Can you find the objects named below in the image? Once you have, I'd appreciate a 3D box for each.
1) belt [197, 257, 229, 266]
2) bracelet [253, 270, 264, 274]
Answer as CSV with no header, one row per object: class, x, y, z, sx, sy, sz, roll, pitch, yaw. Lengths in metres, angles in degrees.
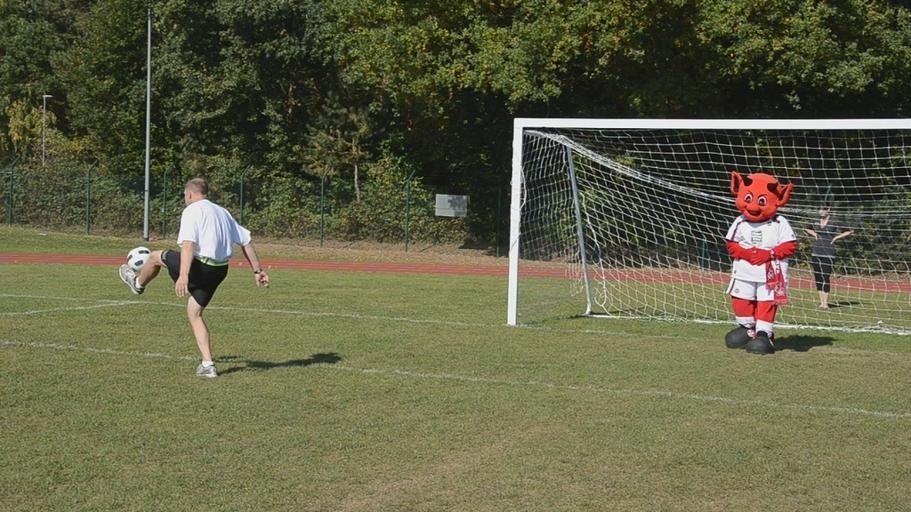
belt,-4.061,0.077,13.191,0.473,0.115,0.115,2,1,-30
bracelet,-3.412,0.268,13.570,0.101,0.041,0.084,-14,4,40
